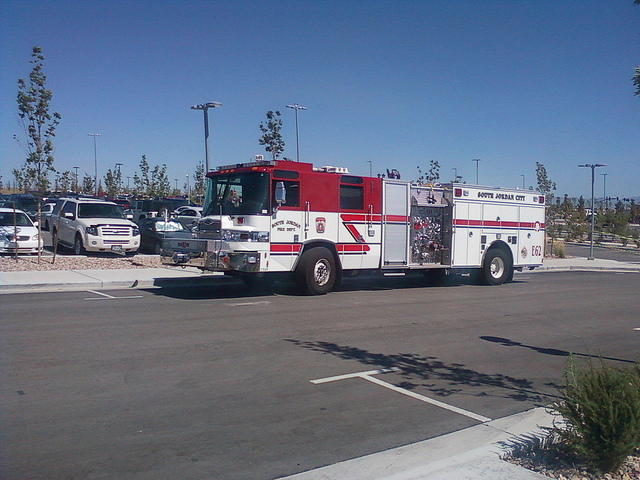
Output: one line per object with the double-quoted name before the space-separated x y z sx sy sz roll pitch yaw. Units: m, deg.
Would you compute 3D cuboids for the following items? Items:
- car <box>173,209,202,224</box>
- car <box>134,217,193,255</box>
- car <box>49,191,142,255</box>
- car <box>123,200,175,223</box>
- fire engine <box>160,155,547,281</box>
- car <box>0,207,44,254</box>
"car" -7.678 -1.364 31.950 1.179 0.898 2.639 -2 9 -43
"car" -7.391 -0.188 26.231 2.108 1.667 5.008 -3 8 -39
"car" -9.993 -0.636 24.284 2.898 2.277 5.734 -1 7 -40
"car" -10.415 -1.736 33.676 2.892 1.437 1.791 8 8 39
"fire engine" 2.245 -0.243 19.031 12.772 3.619 4.238 0 1 -30
"car" -11.400 -0.283 20.773 1.285 1.737 1.526 0 4 -27
